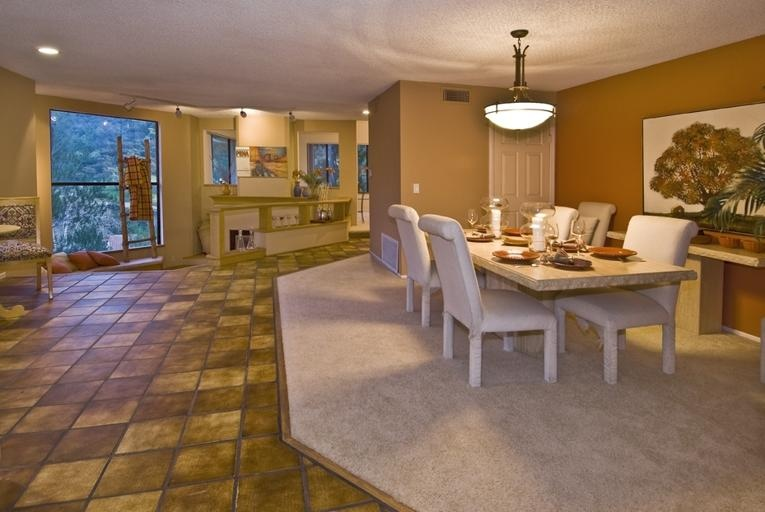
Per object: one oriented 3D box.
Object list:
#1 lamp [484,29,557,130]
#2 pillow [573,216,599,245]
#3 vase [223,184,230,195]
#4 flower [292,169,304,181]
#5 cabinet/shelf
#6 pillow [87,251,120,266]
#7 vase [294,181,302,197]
[{"bbox_3d":[1.411,-1.806,5.272,0.758,0.903,0.755,0,11,6],"label":"lamp"},{"bbox_3d":[2.012,-0.258,5.060,0.147,0.363,0.367,4,5,15],"label":"pillow"},{"bbox_3d":[-3.412,-1.471,11.196,0.144,0.215,0.275,-4,11,-16],"label":"vase"},{"bbox_3d":[-1.760,-1.659,10.666,0.221,0.285,0.278,2,23,-8],"label":"flower"},{"bbox_3d":[-1.816,-0.546,9.967,2.583,1.163,3.293,-4,11,-13],"label":"cabinet/shelf"},{"bbox_3d":[-5.155,0.021,9.346,0.319,0.127,0.324,22,5,29],"label":"pillow"},{"bbox_3d":[-1.754,-1.398,10.561,0.145,0.299,0.317,-3,11,-10],"label":"vase"}]
